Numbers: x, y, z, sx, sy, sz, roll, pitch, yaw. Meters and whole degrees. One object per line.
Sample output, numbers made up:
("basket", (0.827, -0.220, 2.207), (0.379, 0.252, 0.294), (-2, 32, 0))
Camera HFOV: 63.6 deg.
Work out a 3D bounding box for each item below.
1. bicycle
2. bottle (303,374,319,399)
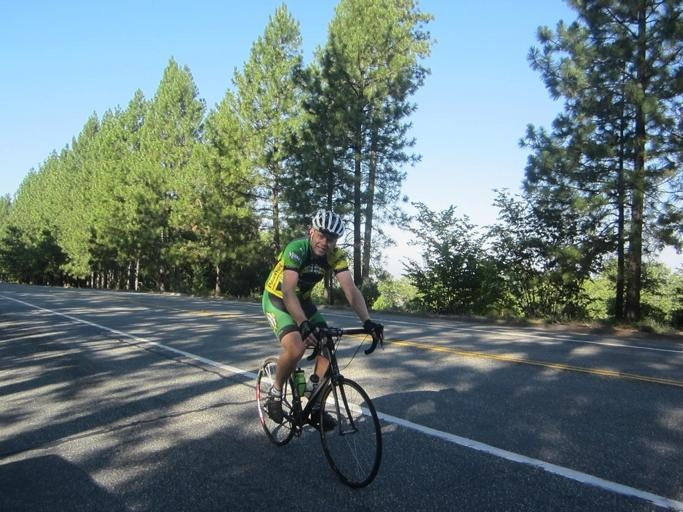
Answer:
("bicycle", (-0.316, 1.607, 6.423), (0.415, 1.675, 2.143), (-5, 7, -41))
("bottle", (-0.351, 1.533, 6.461), (0.240, 0.303, 0.161), (2, -1, 22))
